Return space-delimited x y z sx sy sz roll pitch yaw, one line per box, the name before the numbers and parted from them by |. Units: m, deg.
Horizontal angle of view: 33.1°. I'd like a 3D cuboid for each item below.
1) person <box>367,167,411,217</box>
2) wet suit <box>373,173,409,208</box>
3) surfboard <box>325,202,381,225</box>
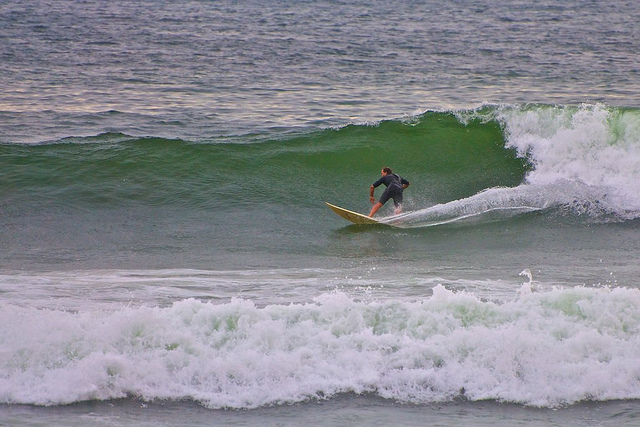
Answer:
person | 2.299 -0.627 35.822 1.360 2.020 0.798 5 -26 8
wet suit | 2.370 -0.738 35.657 0.970 1.048 0.826 2 21 19
surfboard | 1.108 0.027 35.957 2.491 0.332 0.234 13 28 21
